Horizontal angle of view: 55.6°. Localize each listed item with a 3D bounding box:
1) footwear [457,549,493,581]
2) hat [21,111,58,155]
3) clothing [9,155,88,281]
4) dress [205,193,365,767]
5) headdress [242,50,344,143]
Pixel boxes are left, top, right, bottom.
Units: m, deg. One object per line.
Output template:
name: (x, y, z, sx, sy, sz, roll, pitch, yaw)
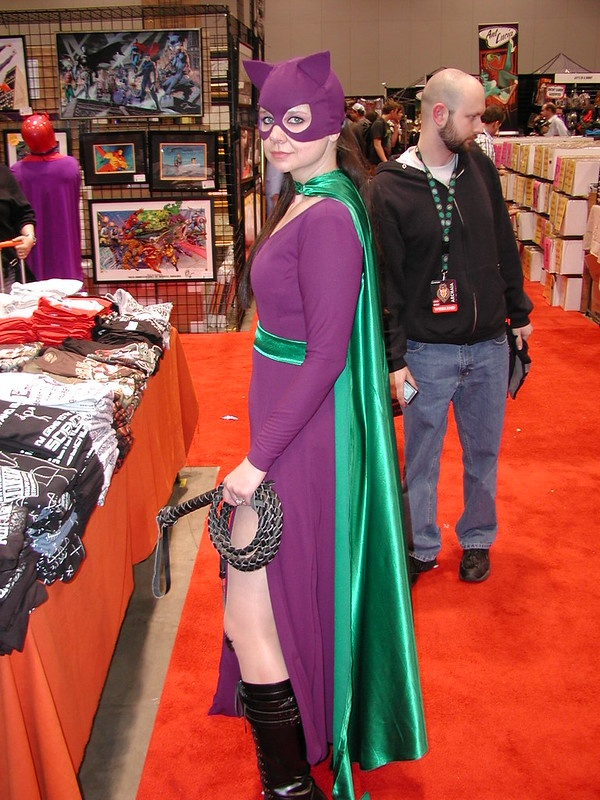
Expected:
footwear: (0.664, 0.623, 2.158, 0.068, 0.071, 0.164, -1, 5, 13)
hat: (-1.961, -2.020, 4.242, 0.212, 0.312, 0.366, -5, 11, -22)
clothing: (-2.096, -1.472, 4.707, 0.513, 1.225, 0.245, -13, 53, -32)
dress: (-0.034, 0.225, 1.017, 0.219, 1.072, 0.427, -2, 9, -10)
headdress: (0.011, -0.468, 0.915, 0.136, 0.117, 0.155, 6, 46, 39)
